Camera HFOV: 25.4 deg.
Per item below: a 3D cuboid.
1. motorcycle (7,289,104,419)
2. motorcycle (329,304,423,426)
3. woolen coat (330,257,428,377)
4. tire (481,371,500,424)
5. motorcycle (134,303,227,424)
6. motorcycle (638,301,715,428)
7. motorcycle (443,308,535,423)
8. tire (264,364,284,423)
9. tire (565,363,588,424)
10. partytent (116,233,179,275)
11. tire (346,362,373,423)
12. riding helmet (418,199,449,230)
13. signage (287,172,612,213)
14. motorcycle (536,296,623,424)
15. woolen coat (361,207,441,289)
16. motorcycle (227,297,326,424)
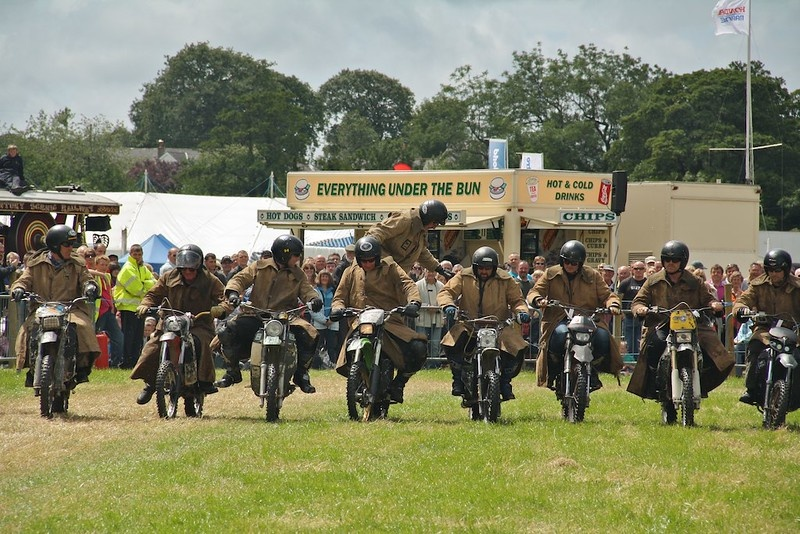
[{"bbox_3d":[-8.259,2.098,41.915,1.350,2.956,0.673,2,-1,-12],"label":"motorcycle"},{"bbox_3d":[-0.701,2.282,41.862,1.617,2.748,0.956,1,-1,-2],"label":"motorcycle"},{"bbox_3d":[-0.418,1.068,42.605,2.286,2.914,1.442,1,9,20],"label":"woolen coat"},{"bbox_3d":[2.090,3.068,41.456,0.429,1.216,0.374,1,-1,7],"label":"tire"},{"bbox_3d":[-5.328,2.259,41.869,1.291,2.669,0.705,2,-2,-36],"label":"motorcycle"},{"bbox_3d":[6.547,2.298,41.494,1.207,2.919,0.690,0,-2,29],"label":"motorcycle"},{"bbox_3d":[1.992,2.377,41.681,1.408,2.633,0.771,1,-1,6],"label":"motorcycle"},{"bbox_3d":[-2.973,2.968,41.379,0.355,1.351,0.284,1,-1,-4],"label":"tire"},{"bbox_3d":[4.125,2.979,41.506,0.558,1.405,0.415,1,-1,13],"label":"tire"},{"bbox_3d":[-8.635,-0.519,62.459,1.991,0.930,1.968,0,-2,-5],"label":"partytent"},{"bbox_3d":[-0.964,2.974,41.599,0.657,1.338,0.583,3,-2,-44],"label":"tire"},{"bbox_3d":[0.792,-1.339,42.819,0.715,0.594,0.531,20,22,25],"label":"riding helmet"},{"bbox_3d":[1.659,-2.627,60.612,10.683,1.444,1.742,1,-2,9],"label":"signage"},{"bbox_3d":[4.174,2.241,41.677,1.262,2.894,0.831,0,-2,31],"label":"motorcycle"},{"bbox_3d":[0.072,-0.593,43.208,2.697,1.584,1.059,20,-5,-42],"label":"woolen coat"},{"bbox_3d":[-3.042,2.250,41.547,1.324,2.793,0.742,1,-1,-5],"label":"motorcycle"}]
